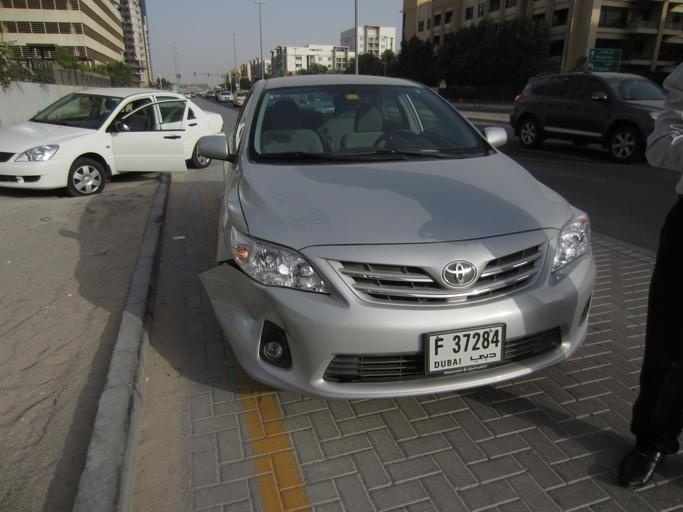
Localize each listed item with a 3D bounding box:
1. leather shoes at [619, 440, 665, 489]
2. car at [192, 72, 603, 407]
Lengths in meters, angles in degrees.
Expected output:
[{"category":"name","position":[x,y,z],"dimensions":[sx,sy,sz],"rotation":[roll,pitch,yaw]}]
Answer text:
[{"category":"leather shoes","position":[1.510,1.010,2.083],"dimensions":[0.341,0.134,0.118],"rotation":[-27,26,-29]},{"category":"car","position":[0.062,-0.408,3.210],"dimensions":[1.913,1.259,3.008],"rotation":[-7,26,-14]}]
